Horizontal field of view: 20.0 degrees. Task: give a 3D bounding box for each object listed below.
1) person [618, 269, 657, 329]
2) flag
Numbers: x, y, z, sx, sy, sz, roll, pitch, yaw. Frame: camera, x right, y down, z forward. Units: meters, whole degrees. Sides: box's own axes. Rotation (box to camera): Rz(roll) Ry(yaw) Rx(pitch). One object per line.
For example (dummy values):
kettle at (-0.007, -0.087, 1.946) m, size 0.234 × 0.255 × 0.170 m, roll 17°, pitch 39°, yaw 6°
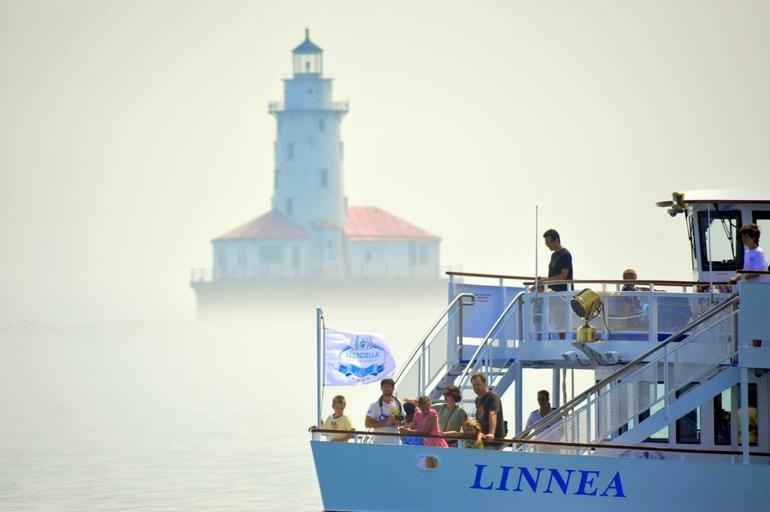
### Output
person at (9.028, 1.797, 77.836) m, size 1.131 × 2.678 × 1.159 m, roll 2°, pitch -1°, yaw -18°
flag at (-0.819, 3.791, 79.981) m, size 2.751 × 2.081 × 0.500 m, roll -1°, pitch 12°, yaw -6°
